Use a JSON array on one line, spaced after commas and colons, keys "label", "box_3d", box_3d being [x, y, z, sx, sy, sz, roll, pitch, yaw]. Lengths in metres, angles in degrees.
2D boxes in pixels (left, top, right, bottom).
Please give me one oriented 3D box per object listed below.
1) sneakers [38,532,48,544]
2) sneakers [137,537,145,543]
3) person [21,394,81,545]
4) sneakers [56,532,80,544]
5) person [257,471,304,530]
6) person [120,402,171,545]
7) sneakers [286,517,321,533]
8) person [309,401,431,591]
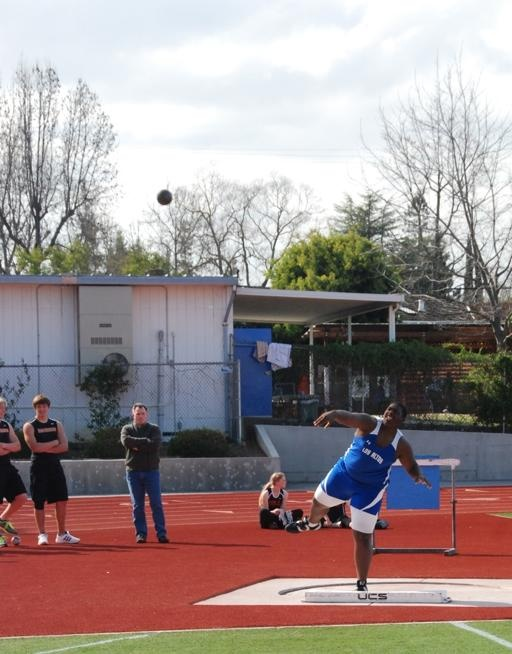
[{"label": "sneakers", "box_3d": [-2.709, 2.639, 19.272, 0.111, 0.151, 0.327, 1, -11, -11]}, {"label": "sneakers", "box_3d": [-1.483, 2.685, 19.512, 0.114, 0.087, 0.174, -2, 2, -4]}, {"label": "person", "box_3d": [-2.596, 1.782, 19.154, 0.591, 1.927, 0.804, -2, 3, -7]}, {"label": "sneakers", "box_3d": [-2.384, 2.651, 19.406, 0.338, 0.180, 0.129, 1, 4, -9]}, {"label": "person", "box_3d": [0.297, 2.416, 21.400, 0.633, 0.784, 0.418, -1, 3, 12]}, {"label": "person", "box_3d": [-1.441, 1.854, 19.589, 0.567, 1.802, 0.477, -2, 3, -4]}, {"label": "sneakers", "box_3d": [0.486, 2.133, 16.560, 0.433, 0.220, 0.160, 4, 3, 6]}, {"label": "person", "box_3d": [1.122, 1.556, 16.130, 1.173, 1.906, 0.579, 19, 13, 14]}]
